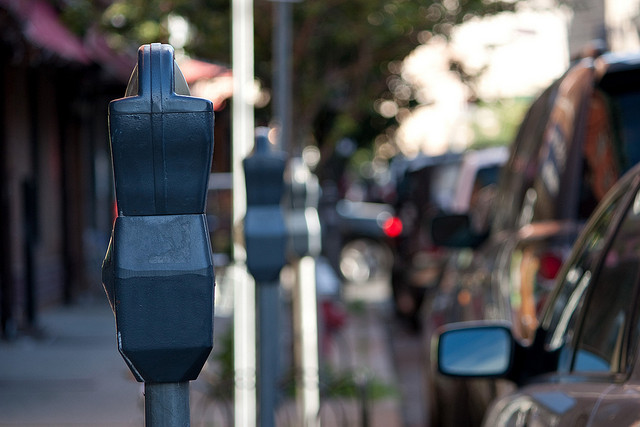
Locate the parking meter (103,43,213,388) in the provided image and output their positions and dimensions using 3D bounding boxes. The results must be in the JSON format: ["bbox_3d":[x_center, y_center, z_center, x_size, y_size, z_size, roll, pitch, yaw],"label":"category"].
[{"bbox_3d":[-1.155,0.012,9.345,0.802,2.446,0.303,-1,6,-9],"label":"parking meter"}]
